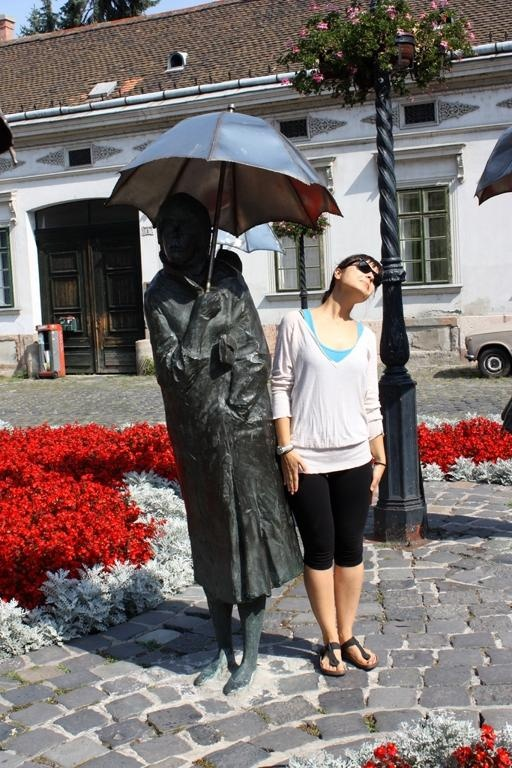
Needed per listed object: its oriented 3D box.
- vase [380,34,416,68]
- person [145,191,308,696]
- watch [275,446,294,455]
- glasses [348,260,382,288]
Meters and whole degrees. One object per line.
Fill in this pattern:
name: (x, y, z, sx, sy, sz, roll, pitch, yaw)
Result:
vase: (0.917, -2.172, 5.040, 0.186, 0.185, 0.216, 0, 5, -3)
person: (-0.113, 0.045, 2.633, 0.483, 1.377, 0.274, -4, 6, -7)
watch: (0.097, 0.231, 2.709, 0.040, 0.037, 0.040, -13, -5, 16)
glasses: (0.401, -0.417, 2.920, 0.103, 0.031, 0.102, 27, 12, 31)
